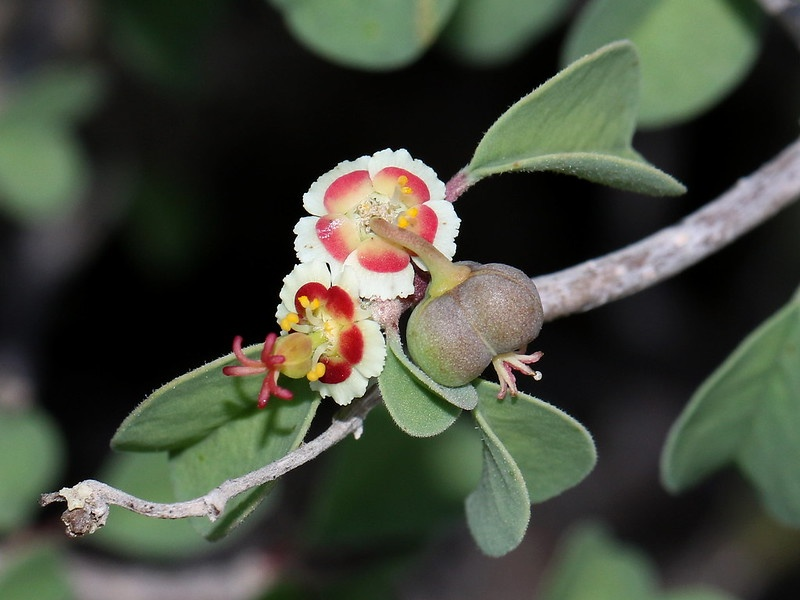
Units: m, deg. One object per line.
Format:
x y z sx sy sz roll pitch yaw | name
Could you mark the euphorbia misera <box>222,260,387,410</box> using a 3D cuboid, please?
-0.201 0.107 1.845 0.332 0.187 0.372 39 83 5 | euphorbia misera
